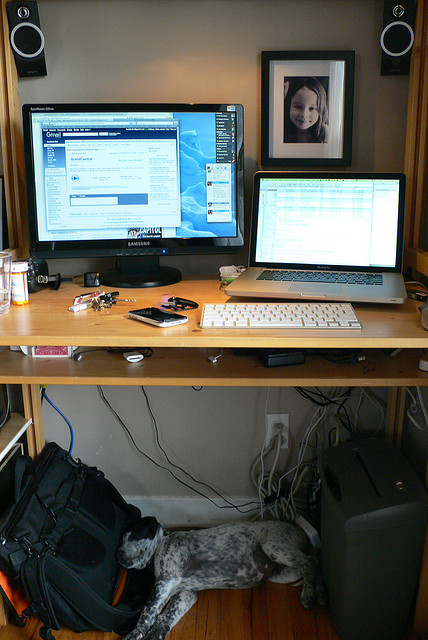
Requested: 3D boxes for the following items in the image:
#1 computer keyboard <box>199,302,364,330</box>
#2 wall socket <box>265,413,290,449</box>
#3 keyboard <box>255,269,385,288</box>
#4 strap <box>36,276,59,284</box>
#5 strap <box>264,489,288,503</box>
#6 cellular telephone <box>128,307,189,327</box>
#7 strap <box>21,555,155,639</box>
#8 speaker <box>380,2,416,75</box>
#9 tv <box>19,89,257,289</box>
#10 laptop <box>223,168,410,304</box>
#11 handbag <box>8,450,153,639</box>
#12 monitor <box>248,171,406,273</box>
[{"bbox_3d":[0.139,-0.013,1.095,0.334,0.014,0.169,0,20,4],"label":"computer keyboard"},{"bbox_3d":[0.216,0.378,1.744,0.083,0.126,0.022,0,17,4],"label":"wall socket"},{"bbox_3d":[0.275,-0.112,1.314,0.312,0.007,0.121,5,21,16],"label":"keyboard"},{"bbox_3d":[-0.457,-0.117,1.390,0.015,0.022,0.068,14,25,39],"label":"strap"},{"bbox_3d":[0.201,0.584,1.712,0.040,0.020,0.072,-11,23,40],"label":"strap"},{"bbox_3d":[-0.124,-0.010,1.107,0.134,0.019,0.074,16,26,40],"label":"cellular telephone"},{"bbox_3d":[-0.335,0.713,1.295,0.219,0.095,0.168,37,23,1],"label":"strap"},{"bbox_3d":[0.504,-0.778,1.402,0.089,0.175,0.063,3,18,13],"label":"speaker"},{"bbox_3d":[-0.213,-0.374,1.378,0.491,0.436,0.202,-1,20,-5],"label":"tv"},{"bbox_3d":[0.268,-0.225,1.250,0.408,0.290,0.333,4,14,13],"label":"laptop"},{"bbox_3d":[-0.350,0.609,1.356,0.166,0.405,0.418,-27,32,27],"label":"handbag"},{"bbox_3d":[0.285,-0.247,1.239,0.422,0.293,0.306,2,6,4],"label":"monitor"}]
